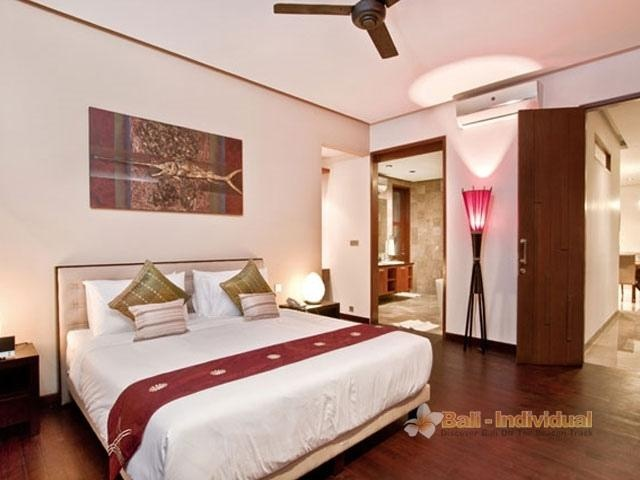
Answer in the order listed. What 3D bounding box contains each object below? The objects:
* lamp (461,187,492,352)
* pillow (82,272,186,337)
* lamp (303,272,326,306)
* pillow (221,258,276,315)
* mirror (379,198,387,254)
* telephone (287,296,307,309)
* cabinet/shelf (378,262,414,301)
[{"bbox_3d":[1.943,0.356,5.471,0.415,1.960,0.678,4,13,15],"label":"lamp"},{"bbox_3d":[-1.922,0.602,3.988,0.651,0.432,0.177,-10,-1,-43],"label":"pillow"},{"bbox_3d":[-0.064,0.656,5.840,0.336,0.477,0.358,1,-4,5],"label":"lamp"},{"bbox_3d":[-0.760,0.452,4.656,0.131,0.492,0.460,-33,-4,35],"label":"pillow"},{"bbox_3d":[1.349,-0.387,9.363,0.096,0.969,0.156,3,21,28],"label":"mirror"},{"bbox_3d":[-0.297,0.796,5.475,0.154,0.069,0.159,12,1,15],"label":"telephone"},{"bbox_3d":[1.476,0.803,9.032,1.125,0.564,0.359,-2,2,-41],"label":"cabinet/shelf"}]
